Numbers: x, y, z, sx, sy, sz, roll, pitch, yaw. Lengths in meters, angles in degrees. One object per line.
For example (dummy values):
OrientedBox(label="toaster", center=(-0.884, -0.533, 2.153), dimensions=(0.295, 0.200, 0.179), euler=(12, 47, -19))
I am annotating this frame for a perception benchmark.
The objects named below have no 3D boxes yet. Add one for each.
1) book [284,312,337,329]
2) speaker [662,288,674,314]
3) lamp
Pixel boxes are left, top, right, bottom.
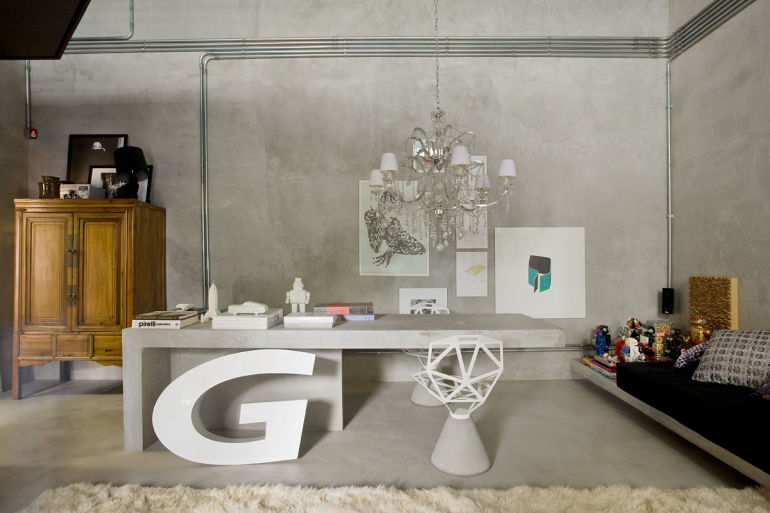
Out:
OrientedBox(label="book", center=(-0.836, 0.697, 7.239), dimensions=(0.608, 0.164, 0.245), euler=(0, -1, 0))
OrientedBox(label="speaker", center=(3.845, 0.593, 8.818), dimensions=(0.173, 0.363, 0.178), euler=(0, -1, 21))
OrientedBox(label="lamp", center=(0.653, -1.780, 8.164), dimensions=(1.812, 3.483, 1.705), euler=(0, -1, -3))
